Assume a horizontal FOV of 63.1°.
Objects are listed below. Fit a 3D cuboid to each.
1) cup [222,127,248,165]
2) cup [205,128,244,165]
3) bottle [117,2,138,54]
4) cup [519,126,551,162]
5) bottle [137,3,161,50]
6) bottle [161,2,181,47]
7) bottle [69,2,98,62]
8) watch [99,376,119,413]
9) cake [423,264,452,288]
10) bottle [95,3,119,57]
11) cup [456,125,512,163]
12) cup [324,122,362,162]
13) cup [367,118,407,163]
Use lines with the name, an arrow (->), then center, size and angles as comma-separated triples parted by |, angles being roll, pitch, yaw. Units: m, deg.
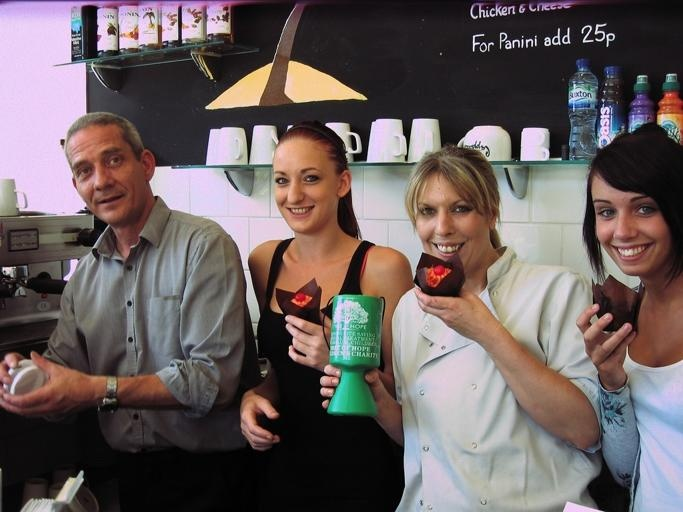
cup -> -0.482, -0.491, 2.502 | 0.106, 0.172, 0.167 | -1, -7, -5
cup -> -0.513, -0.496, 2.519 | 0.128, 0.193, 0.210 | 0, -1, -7
bottle -> -0.997, -1.063, 2.609 | 0.122, 0.207, 0.031 | 2, 9, 24
cup -> 0.719, -0.414, 2.083 | 0.091, 0.138, 0.140 | -3, 5, -43
bottle -> -0.894, -1.060, 2.593 | 0.100, 0.195, 0.046 | -5, 9, -16
bottle -> -0.784, -1.057, 2.573 | 0.141, 0.183, 0.055 | 5, 11, 41
bottle -> -1.251, -1.071, 2.692 | 0.204, 0.246, 0.076 | 2, 9, 25
watch -> -0.607, 0.360, 1.449 | 0.049, 0.088, 0.035 | -6, 9, -27
cake -> 0.211, 0.043, 1.257 | 0.048, 0.054, 0.024 | 1, 10, 20
bottle -> -1.114, -1.065, 2.650 | 0.126, 0.219, 0.043 | 0, 9, 12
cup -> 0.544, -0.404, 2.168 | 0.215, 0.151, 0.164 | 1, 5, 27
cup -> 0.040, -0.493, 2.450 | 0.214, 0.223, 0.131 | 1, 0, 3
cup -> 0.184, -0.468, 2.251 | 0.128, 0.200, 0.201 | -5, 8, -40
